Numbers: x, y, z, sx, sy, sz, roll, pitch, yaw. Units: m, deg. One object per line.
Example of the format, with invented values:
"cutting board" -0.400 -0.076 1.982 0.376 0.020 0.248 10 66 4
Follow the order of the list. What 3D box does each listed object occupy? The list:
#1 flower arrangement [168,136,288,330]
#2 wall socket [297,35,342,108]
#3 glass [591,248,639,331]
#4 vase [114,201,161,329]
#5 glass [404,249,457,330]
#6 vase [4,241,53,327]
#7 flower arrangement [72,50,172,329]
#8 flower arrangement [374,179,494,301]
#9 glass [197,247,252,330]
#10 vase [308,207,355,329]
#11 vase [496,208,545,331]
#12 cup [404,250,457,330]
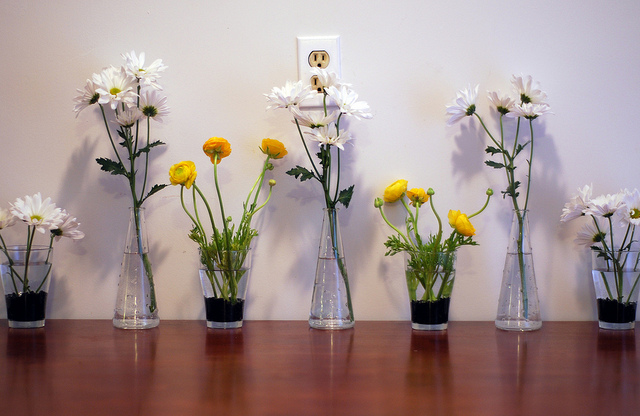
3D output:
"flower arrangement" -0.128 0.089 1.882 0.495 0.805 0.463 1 0 8
"wall socket" -0.006 -0.400 1.726 0.135 0.225 0.089 -2 3 -7
"glass" 0.842 0.233 1.637 0.107 0.254 0.113 4 5 -6
"vase" -0.532 0.167 1.643 0.129 0.364 0.102 3 -11 -22
"glass" 0.309 0.225 1.575 0.121 0.248 0.127 1 3 -3
"vase" -0.855 0.224 1.628 0.123 0.235 0.093 2 -10 -18
"flower arrangement" -0.569 -0.065 1.663 0.258 0.685 0.239 -10 -14 31
"flower arrangement" 0.306 0.107 1.592 0.231 0.446 0.239 -1 0 -1
"glass" -0.275 0.228 1.595 0.105 0.263 0.119 2 5 37
"vase" 0.028 0.164 1.620 0.126 0.359 0.085 -2 -10 0
"vase" 0.568 0.179 1.614 0.132 0.341 0.092 -3 -10 7
"cup" 0.306 0.229 1.589 0.121 0.247 0.127 1 3 0
